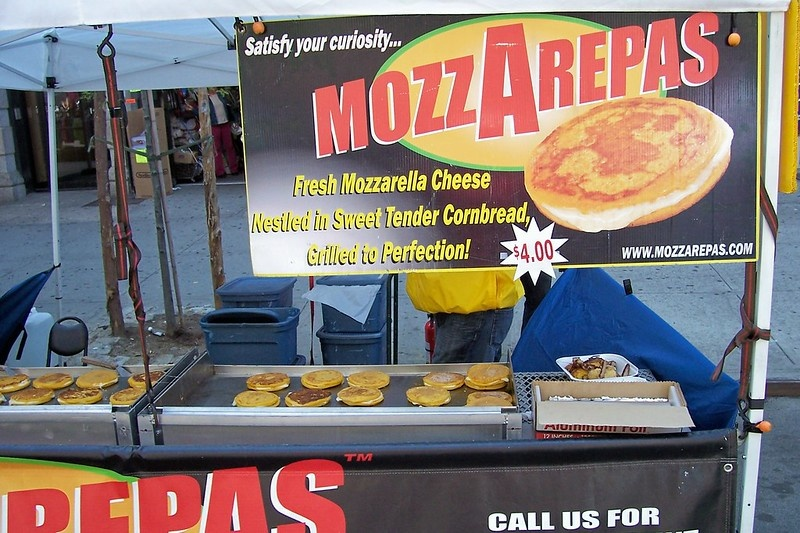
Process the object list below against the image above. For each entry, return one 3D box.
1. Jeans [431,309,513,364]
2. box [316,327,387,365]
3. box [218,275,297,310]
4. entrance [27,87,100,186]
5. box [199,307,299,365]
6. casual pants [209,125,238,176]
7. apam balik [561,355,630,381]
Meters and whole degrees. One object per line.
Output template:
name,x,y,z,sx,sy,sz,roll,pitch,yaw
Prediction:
Jeans,0.599,0.531,7.055,0.869,0.462,0.593,-1,-2,-17
box,-0.446,0.691,7.567,0.485,0.245,0.339,-1,2,3
box,-1.271,0.222,7.937,0.373,0.209,0.512,2,8,21
entrance,-7.305,-3.014,19.101,1.566,2.046,1.520,-12,14,-35
box,-1.289,0.581,7.230,0.671,0.297,0.496,0,1,5
casual pants,-3.759,-2.562,18.138,0.403,1.422,0.304,-12,-29,0
apam balik,1.332,0.682,5.662,0.294,0.049,0.203,0,12,-11
